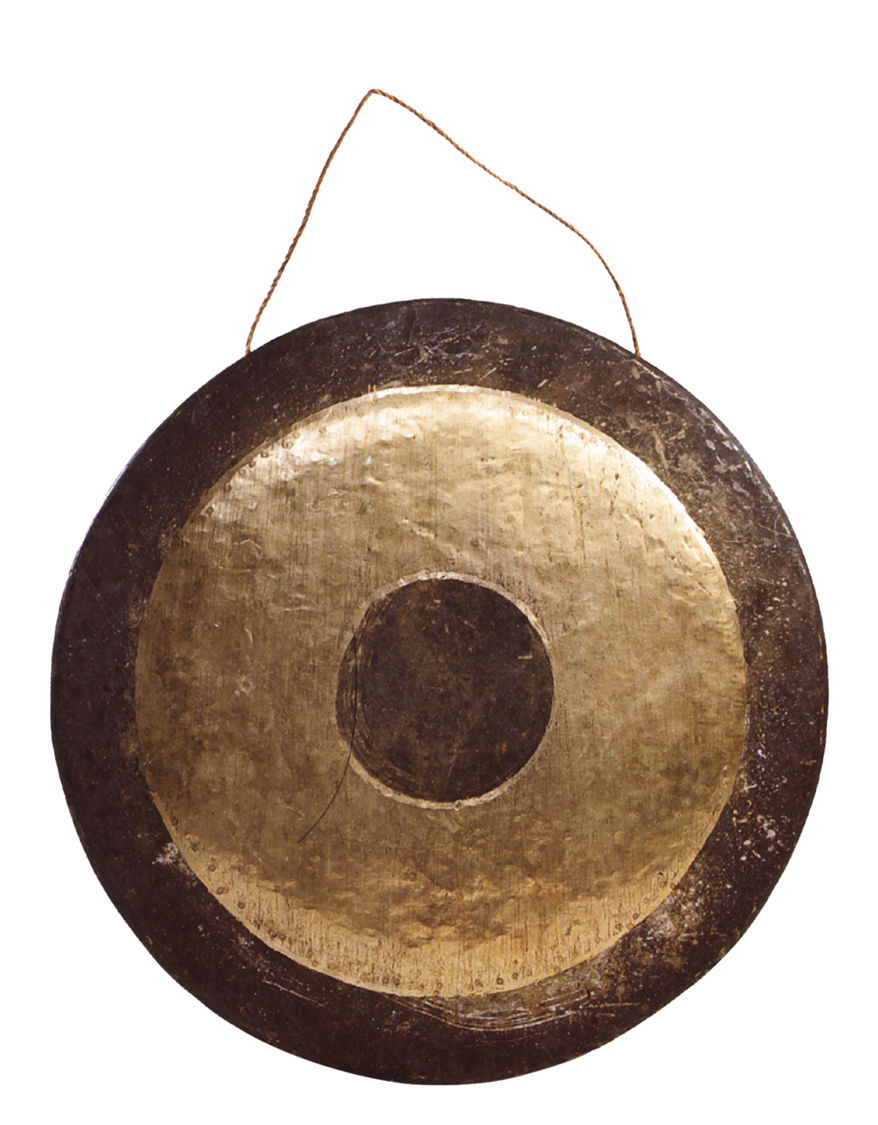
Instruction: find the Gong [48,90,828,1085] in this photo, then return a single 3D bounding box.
[{"bbox_3d":[0.006,0.104,4.065,1.443,0.281,2.637,-1,52,-3],"label":"Gong"}]
